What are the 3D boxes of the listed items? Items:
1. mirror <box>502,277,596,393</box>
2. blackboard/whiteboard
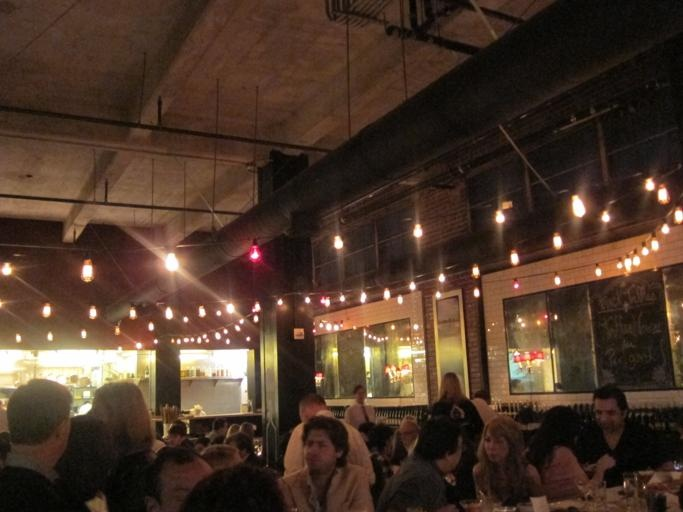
[{"bbox_3d":[3.516,1.334,11.420,0.084,1.917,1.759,6,-10,-31],"label":"mirror"},{"bbox_3d":[4.351,1.087,10.305,0.053,1.511,1.177,2,-5,-28],"label":"blackboard/whiteboard"}]
